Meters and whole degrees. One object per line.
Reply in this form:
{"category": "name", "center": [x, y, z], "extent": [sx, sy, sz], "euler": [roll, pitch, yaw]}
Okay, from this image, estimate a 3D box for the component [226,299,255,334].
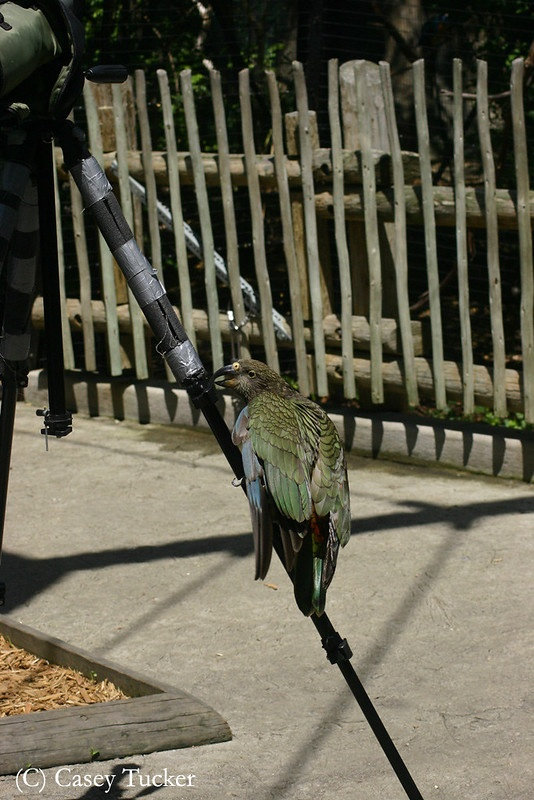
{"category": "component", "center": [-0.173, -0.559, 6.788], "extent": [0.153, 0.218, 0.078], "euler": [3, 16, 6]}
